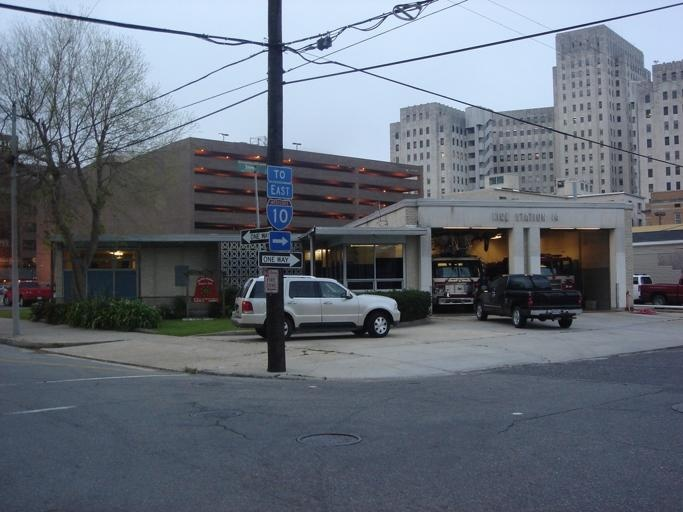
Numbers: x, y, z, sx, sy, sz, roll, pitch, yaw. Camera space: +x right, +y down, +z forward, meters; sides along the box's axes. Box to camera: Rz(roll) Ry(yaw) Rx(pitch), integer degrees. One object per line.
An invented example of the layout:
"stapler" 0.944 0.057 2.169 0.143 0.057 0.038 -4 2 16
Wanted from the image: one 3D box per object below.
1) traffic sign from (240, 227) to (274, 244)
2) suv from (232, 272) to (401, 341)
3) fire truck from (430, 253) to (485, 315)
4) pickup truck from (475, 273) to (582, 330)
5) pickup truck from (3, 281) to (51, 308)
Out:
"traffic sign" -2.036 -0.481 17.324 0.982 0.520 0.038 -5 -12 44
"suv" -0.844 1.722 23.687 5.256 2.170 2.168 -1 -2 -18
"fire truck" 5.435 1.413 34.303 1.891 2.581 1.843 3 0 -1
"pickup truck" 7.123 1.761 28.219 2.177 1.968 5.152 1 1 -15
"pickup truck" -19.194 2.416 43.533 2.053 1.607 4.380 1 0 -41
